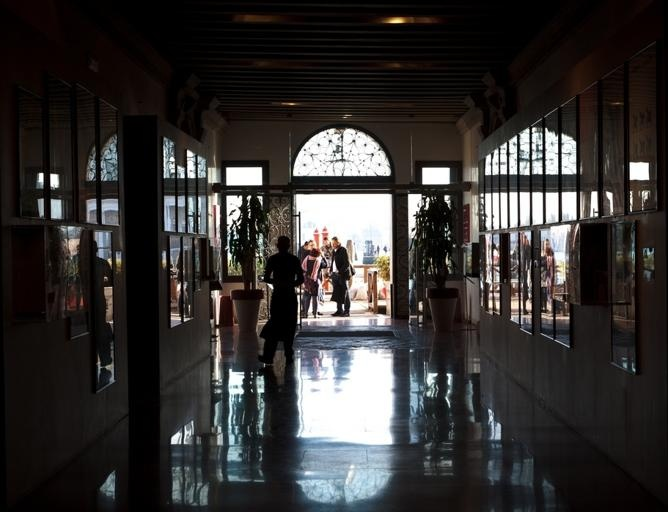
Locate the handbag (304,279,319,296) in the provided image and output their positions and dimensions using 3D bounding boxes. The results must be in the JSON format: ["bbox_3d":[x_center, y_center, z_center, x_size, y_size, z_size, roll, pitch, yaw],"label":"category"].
[{"bbox_3d":[-0.528,0.730,13.043,0.284,0.227,0.457,2,-29,14],"label":"handbag"}]

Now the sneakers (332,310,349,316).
[{"bbox_3d":[0.170,1.353,13.421,0.320,0.170,0.162,4,-3,-11],"label":"sneakers"}]

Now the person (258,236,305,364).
[{"bbox_3d":[-0.756,0.607,7.857,0.604,1.800,0.589,0,0,-9],"label":"person"}]

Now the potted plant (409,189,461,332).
[{"bbox_3d":[2.018,0.102,11.176,0.834,2.663,1.365,0,0,8],"label":"potted plant"}]

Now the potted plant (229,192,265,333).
[{"bbox_3d":[-1.680,0.097,10.918,0.772,2.731,0.749,0,0,-19],"label":"potted plant"}]

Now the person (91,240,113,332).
[{"bbox_3d":[-2.150,0.263,5.061,0.187,0.925,0.268,-12,30,-35],"label":"person"}]
